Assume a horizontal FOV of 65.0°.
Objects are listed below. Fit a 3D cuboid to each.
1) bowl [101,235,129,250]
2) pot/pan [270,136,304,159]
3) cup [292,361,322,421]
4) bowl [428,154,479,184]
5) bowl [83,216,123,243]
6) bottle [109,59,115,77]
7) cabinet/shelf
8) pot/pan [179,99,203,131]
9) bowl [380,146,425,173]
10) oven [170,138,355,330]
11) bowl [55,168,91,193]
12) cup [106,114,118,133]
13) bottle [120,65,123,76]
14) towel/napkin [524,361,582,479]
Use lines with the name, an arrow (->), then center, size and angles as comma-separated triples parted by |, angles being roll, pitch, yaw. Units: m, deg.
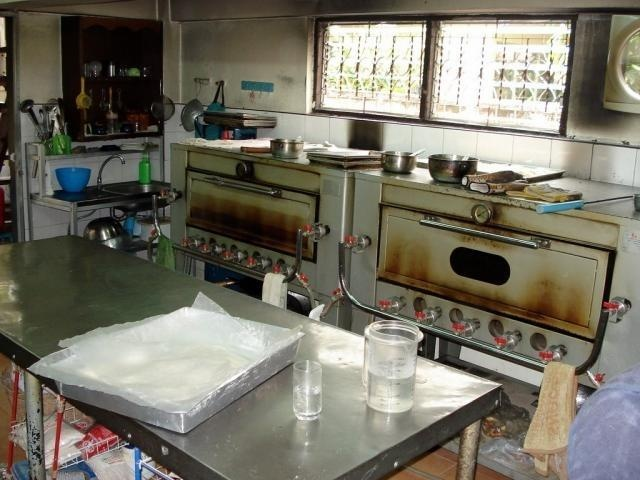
bowl -> -1.759, 0.019, 4.289 | 0.118, 0.089, 0.117 | 1, 11, 0
pot/pan -> -0.226, -0.612, 3.364 | 0.200, 0.136, 0.163 | 1, 14, -20
cup -> -0.029, 0.375, 1.265 | 0.080, 0.134, 0.078 | 5, 13, -1
bowl -> 0.694, -0.375, 2.768 | 0.198, 0.095, 0.207 | 0, 4, 0
bowl -> -2.060, -0.123, 4.723 | 0.397, 0.218, 0.393 | -3, 6, 0
bottle -> -2.113, -1.730, 5.094 | 0.071, 0.163, 0.225 | 0, 14, -21
cabinet/shelf -> -2.133, -1.635, 5.090 | 1.138, 1.420, 0.406 | -11, 17, -43
pot/pan -> -1.294, -1.271, 5.103 | 0.215, 0.317, 0.285 | 2, 14, -16
bowl -> 0.527, -0.483, 3.054 | 0.222, 0.097, 0.133 | -1, 4, -41
oven -> -0.420, -0.035, 3.722 | 1.471, 1.257, 0.560 | 14, 23, 24
bowl -> -2.331, -0.570, 4.742 | 0.262, 0.181, 0.265 | 0, 5, 0
cup -> -2.122, -1.190, 5.117 | 0.096, 0.207, 0.185 | 0, 14, -23
bottle -> -2.052, -1.748, 5.195 | 0.050, 0.109, 0.240 | 0, 14, -21
towel/napkin -> 0.827, 0.676, 1.789 | 0.152, 0.465, 0.274 | 12, 15, 26
